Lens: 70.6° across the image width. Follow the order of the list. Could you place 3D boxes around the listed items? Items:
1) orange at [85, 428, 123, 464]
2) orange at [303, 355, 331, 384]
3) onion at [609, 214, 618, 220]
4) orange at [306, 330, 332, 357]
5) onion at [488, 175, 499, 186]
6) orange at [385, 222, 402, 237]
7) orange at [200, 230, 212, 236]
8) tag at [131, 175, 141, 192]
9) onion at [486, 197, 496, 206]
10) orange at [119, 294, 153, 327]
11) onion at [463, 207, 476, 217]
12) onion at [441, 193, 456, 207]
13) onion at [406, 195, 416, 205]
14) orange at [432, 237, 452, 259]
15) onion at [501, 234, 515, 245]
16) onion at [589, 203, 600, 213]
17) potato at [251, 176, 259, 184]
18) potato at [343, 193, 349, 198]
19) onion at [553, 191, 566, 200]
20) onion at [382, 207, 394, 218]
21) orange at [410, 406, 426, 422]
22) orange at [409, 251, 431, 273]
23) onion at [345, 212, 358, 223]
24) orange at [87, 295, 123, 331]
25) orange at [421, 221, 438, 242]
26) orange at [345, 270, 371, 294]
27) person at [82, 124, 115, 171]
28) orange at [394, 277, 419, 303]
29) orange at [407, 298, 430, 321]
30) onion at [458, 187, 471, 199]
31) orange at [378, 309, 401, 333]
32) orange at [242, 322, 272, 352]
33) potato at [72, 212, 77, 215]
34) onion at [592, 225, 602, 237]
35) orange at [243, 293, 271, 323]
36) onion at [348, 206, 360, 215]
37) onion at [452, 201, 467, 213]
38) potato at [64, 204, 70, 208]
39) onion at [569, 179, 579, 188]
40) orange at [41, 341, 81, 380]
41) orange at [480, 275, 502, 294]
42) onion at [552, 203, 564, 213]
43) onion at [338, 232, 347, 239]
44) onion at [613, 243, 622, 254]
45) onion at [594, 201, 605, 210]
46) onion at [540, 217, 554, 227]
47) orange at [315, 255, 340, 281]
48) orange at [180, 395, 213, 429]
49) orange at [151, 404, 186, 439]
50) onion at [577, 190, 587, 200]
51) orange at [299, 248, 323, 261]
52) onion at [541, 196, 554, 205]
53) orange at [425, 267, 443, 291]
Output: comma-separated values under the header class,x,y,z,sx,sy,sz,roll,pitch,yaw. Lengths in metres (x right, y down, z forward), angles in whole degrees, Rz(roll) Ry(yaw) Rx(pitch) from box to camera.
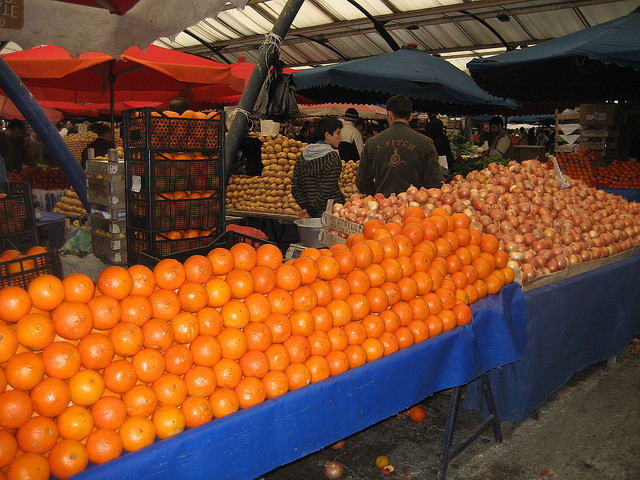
class,x,y,z,sx,sy,sz,roll,pitch,yaw
orange,-0.814,0.776,1.709,0.114,0.114,0.115,10,-13,13
orange,-0.006,0.620,2.172,0.109,0.113,0.104,1,0,-3
onion,2.915,-0.240,4.490,0.070,0.040,0.072,1,14,17
orange,-0.001,0.511,2.240,0.112,0.117,0.113,2,-4,-2
onion,1.597,-0.550,4.151,0.075,0.089,0.073,-10,8,-42
orange,0.481,-0.066,2.933,0.083,0.088,0.085,-1,8,5
orange,-0.859,-0.060,3.401,0.044,0.055,0.046,15,-17,43
tag,-1.306,-0.400,3.229,0.017,0.122,0.124,-8,4,-42
onion,1.421,-0.321,3.757,0.058,0.070,0.059,-18,18,22
orange,-0.799,0.304,1.995,0.126,0.145,0.128,1,4,-7
onion,1.203,-0.238,3.628,0.081,0.050,0.084,7,18,27
onion,1.054,-0.322,3.706,0.099,0.104,0.097,-2,6,4
onion,0.768,-0.335,3.786,0.061,0.063,0.063,-1,14,4
orange,0.792,0.056,2.904,0.109,0.111,0.104,-6,6,-41
onion,1.446,-0.001,3.494,0.082,0.075,0.070,0,-11,-17
onion,2.702,-0.315,4.458,0.090,0.074,0.070,0,4,14
potato,-1.099,-1.031,7.718,0.096,0.071,0.123,-2,2,0
potato,0.465,-0.778,7.935,0.084,0.060,0.105,-7,-7,33
onion,2.265,-0.424,4.270,0.093,0.050,0.096,-24,28,-31
onion,0.534,-0.213,3.526,0.072,0.074,0.073,-1,6,6
orange,0.769,1.344,3.543,0.100,0.106,0.103,8,52,23
orange,0.610,0.128,2.725,0.108,0.135,0.114,0,-1,2
onion,0.256,-0.175,3.584,0.065,0.069,0.068,3,12,13
orange,-0.905,0.299,1.954,0.131,0.137,0.134,22,-13,-27
orange,0.704,-0.061,2.986,0.114,0.144,0.118,0,26,7
orange,0.215,0.228,2.541,0.117,0.121,0.120,-2,10,3
person,-4.289,-1.881,8.702,0.540,0.738,2.514,-7,14,-25
orange,0.491,0.291,2.597,0.079,0.094,0.081,42,38,3
orange,0.569,0.395,2.586,0.112,0.116,0.111,-1,-5,-12
onion,1.242,-0.398,3.872,0.105,0.090,0.094,1,13,9
orange,0.396,0.436,2.507,0.108,0.130,0.109,-36,-1,16
orange,-0.289,0.453,2.199,0.122,0.148,0.122,28,33,37
potato,-4.065,-0.430,7.518,0.045,0.046,0.046,-1,16,1
onion,2.520,-0.079,4.126,0.085,0.090,0.084,-2,6,11
orange,-0.297,0.345,2.247,0.118,0.124,0.128,8,38,26
onion,0.279,-0.240,3.701,0.069,0.085,0.068,-6,10,-42
onion,1.111,-0.261,3.615,0.086,0.084,0.089,7,24,10
potato,-4.293,-0.571,7.684,0.061,0.037,0.062,-3,9,6
onion,2.687,-0.603,4.790,0.106,0.113,0.102,0,8,20
orange,-1.017,0.470,1.831,0.141,0.140,0.133,40,-37,-27
orange,1.169,0.295,3.057,0.109,0.120,0.111,1,26,19
onion,2.153,-0.287,4.081,0.083,0.084,0.086,7,10,33
onion,0.174,-0.035,3.373,0.038,0.048,0.039,-13,9,9
onion,2.756,0.075,4.181,0.083,0.080,0.085,1,11,10
onion,2.809,-0.352,4.541,0.093,0.076,0.072,17,33,41
onion,1.910,-0.161,3.816,0.084,0.088,0.078,-10,12,-21
orange,0.048,0.157,2.499,0.120,0.126,0.119,-2,13,9
orange,-0.510,0.710,1.878,0.116,0.123,0.118,8,-5,-2
orange,-0.610,0.731,1.824,0.123,0.125,0.118,13,16,-6
onion,2.644,-0.451,4.559,0.076,0.079,0.097,1,14,-38
orange,-0.048,0.077,2.582,0.076,0.097,0.078,0,4,6
onion,2.046,-0.359,4.076,0.077,0.097,0.079,-7,10,9
orange,0.697,0.244,2.732,0.114,0.140,0.114,-1,1,7
